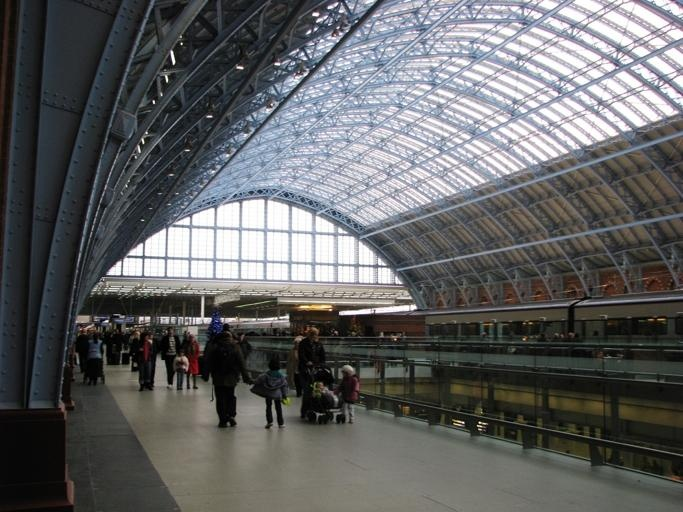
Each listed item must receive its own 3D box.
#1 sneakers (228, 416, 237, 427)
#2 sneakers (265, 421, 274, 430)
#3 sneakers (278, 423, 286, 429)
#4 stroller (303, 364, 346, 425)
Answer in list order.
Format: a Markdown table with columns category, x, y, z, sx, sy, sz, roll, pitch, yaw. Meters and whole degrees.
| category | x | y | z | sx | sy | sz | roll | pitch | yaw |
| --- | --- | --- | --- | --- | --- | --- | --- | --- | --- |
| sneakers | -2.551 | 3.844 | 11.919 | 0.251 | 0.215 | 0.226 | -4 | -16 | 22 |
| sneakers | -1.636 | 3.812 | 11.583 | 0.091 | 0.145 | 0.251 | 3 | -2 | -29 |
| sneakers | -1.374 | 3.852 | 11.661 | 0.122 | 0.126 | 0.347 | 2 | -13 | -8 |
| stroller | -0.372 | 3.316 | 12.555 | 1.194 | 1.092 | 1.113 | 9 | -2 | 11 |
